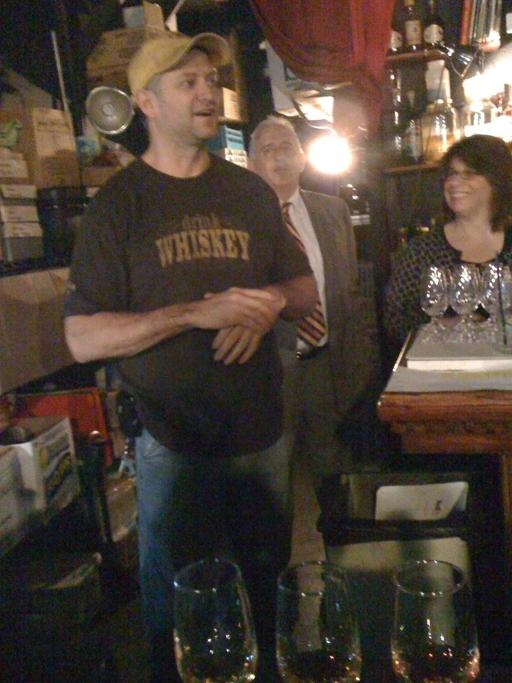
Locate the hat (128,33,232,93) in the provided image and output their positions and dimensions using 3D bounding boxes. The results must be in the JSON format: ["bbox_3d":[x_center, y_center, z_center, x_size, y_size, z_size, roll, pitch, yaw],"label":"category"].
[{"bbox_3d":[-0.147,-0.555,1.194,0.168,0.067,0.123,-24,-3,42],"label":"hat"}]

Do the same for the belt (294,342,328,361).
[{"bbox_3d":[0.129,0.025,1.428,0.038,0.019,0.051,-21,-16,-34],"label":"belt"}]

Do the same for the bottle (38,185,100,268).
[{"bbox_3d":[-0.408,-0.241,1.259,0.104,0.163,0.068,-5,10,-1],"label":"bottle"}]
